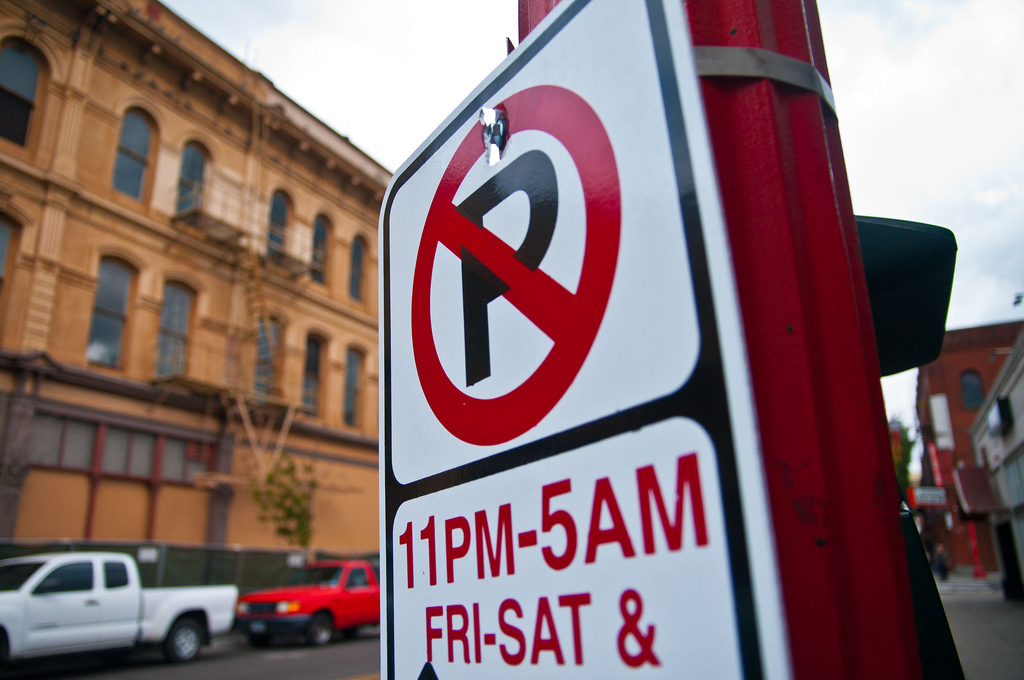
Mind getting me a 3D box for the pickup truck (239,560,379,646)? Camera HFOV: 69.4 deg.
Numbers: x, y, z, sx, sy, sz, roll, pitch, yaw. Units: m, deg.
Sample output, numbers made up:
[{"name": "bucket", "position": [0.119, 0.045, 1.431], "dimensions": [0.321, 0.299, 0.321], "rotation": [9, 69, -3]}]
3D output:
[{"name": "pickup truck", "position": [-3.512, 4.754, 14.054], "dimensions": [1.446, 1.393, 3.379], "rotation": [-10, -27, 16]}]
